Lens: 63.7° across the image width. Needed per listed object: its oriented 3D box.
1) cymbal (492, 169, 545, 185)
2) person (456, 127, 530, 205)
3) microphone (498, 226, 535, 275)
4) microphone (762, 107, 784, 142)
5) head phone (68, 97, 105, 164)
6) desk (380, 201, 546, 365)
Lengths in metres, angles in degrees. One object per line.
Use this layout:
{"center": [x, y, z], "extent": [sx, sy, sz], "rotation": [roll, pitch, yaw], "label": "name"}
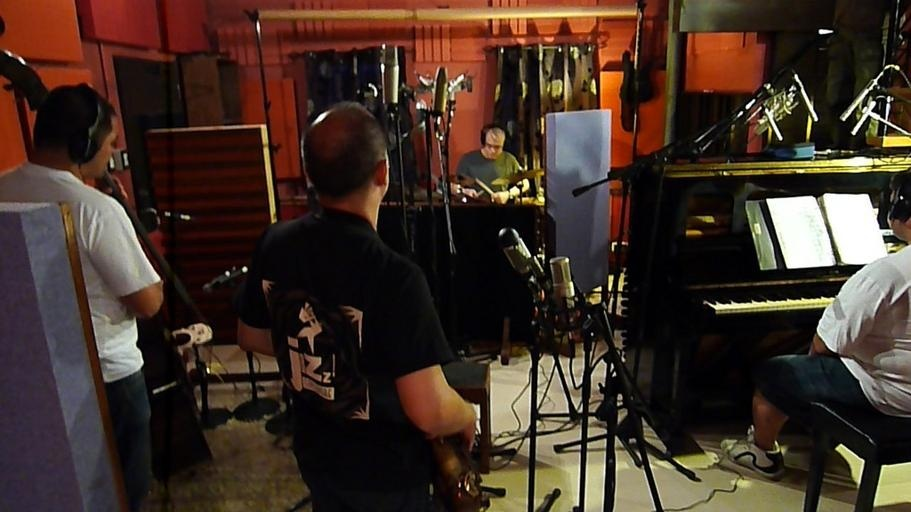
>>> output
{"center": [0.738, -0.840, 7.779], "extent": [0.219, 0.202, 0.803], "rotation": [21, 14, 14], "label": "cymbal"}
{"center": [0.407, -0.892, 8.990], "extent": [0.998, 1.290, 0.682], "rotation": [3, 21, -1], "label": "person"}
{"center": [0.468, -0.040, 5.299], "extent": [0.162, 0.405, 0.184], "rotation": [-43, 28, -4], "label": "microphone"}
{"center": [2.706, -1.121, 6.239], "extent": [0.133, 0.265, 0.447], "rotation": [1, 8, 23], "label": "microphone"}
{"center": [-2.666, -0.930, 5.435], "extent": [0.167, 0.433, 0.339], "rotation": [2, 15, -46], "label": "head phone"}
{"center": [0.069, 0.158, 6.621], "extent": [1.801, 1.531, 0.614], "rotation": [1, 9, 2], "label": "desk"}
